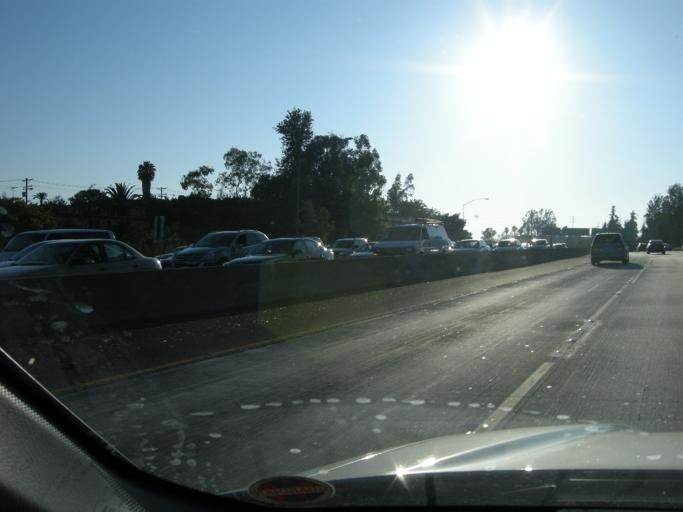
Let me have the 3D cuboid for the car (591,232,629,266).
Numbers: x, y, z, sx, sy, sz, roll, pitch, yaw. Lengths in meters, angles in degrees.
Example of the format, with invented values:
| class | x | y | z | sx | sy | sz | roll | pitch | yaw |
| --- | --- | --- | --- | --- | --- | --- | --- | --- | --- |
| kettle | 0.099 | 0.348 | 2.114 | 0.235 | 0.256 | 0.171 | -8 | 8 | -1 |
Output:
| class | x | y | z | sx | sy | sz | roll | pitch | yaw |
| --- | --- | --- | --- | --- | --- | --- | --- | --- | --- |
| car | 17.166 | -0.487 | 38.919 | 2.105 | 1.966 | 2.571 | -1 | 2 | 25 |
